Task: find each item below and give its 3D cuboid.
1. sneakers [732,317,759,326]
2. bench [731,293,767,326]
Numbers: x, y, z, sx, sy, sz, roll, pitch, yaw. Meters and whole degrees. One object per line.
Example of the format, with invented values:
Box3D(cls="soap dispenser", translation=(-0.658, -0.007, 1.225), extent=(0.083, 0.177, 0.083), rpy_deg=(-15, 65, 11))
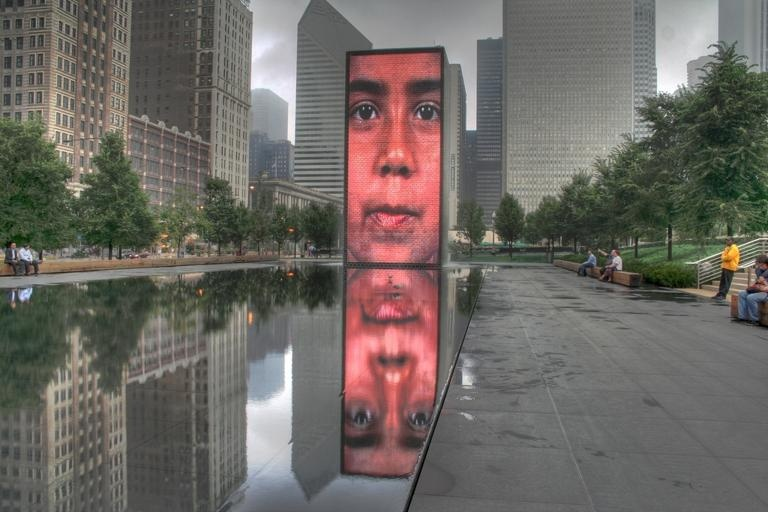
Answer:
Box3D(cls="sneakers", translation=(11.253, 2.064, 21.132), extent=(0.197, 0.262, 0.593), rpy_deg=(3, -7, -28))
Box3D(cls="bench", translation=(11.409, 1.879, 21.198), extent=(1.285, 0.961, 0.703), rpy_deg=(-2, -3, 43))
